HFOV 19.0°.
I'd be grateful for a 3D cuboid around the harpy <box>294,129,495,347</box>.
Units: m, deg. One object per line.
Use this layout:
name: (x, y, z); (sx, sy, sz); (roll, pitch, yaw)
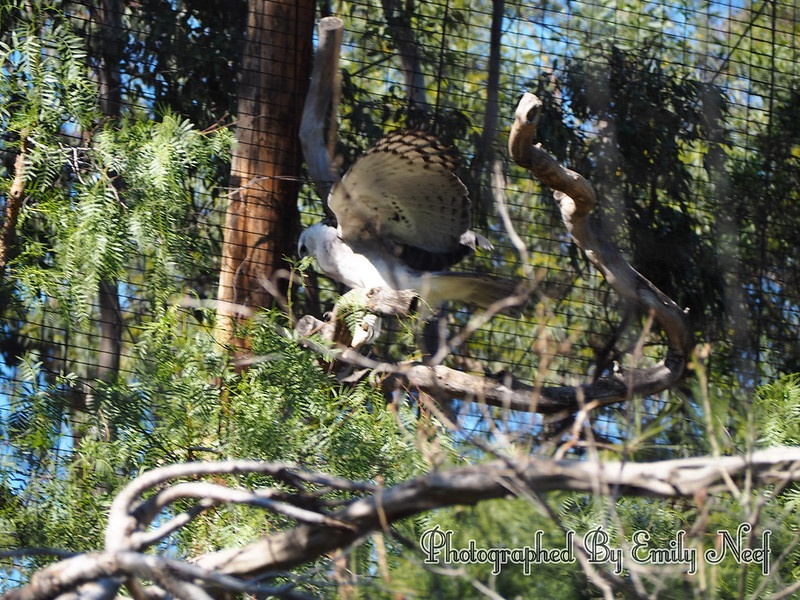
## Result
harpy: (-0.055, -0.332, 11.896); (0.716, 0.853, 0.681); (-28, 64, -15)
